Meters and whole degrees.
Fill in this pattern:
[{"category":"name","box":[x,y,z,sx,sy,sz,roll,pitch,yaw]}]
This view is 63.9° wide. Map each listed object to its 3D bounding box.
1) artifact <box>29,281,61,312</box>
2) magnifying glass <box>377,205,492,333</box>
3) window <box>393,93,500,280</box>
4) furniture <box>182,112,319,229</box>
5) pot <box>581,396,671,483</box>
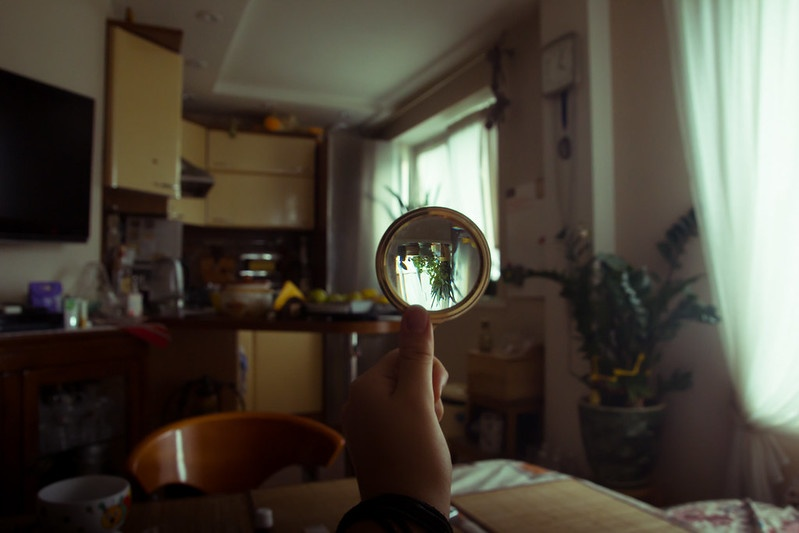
[{"category":"artifact","box":[-1.014,0.088,1.849,0.092,0.059,0.091,-1,0,3]},{"category":"magnifying glass","box":[0.056,-0.003,1.028,0.186,0.170,0.064,-1,0,-11]},{"category":"window","box":[0.089,-0.133,1.117,0.248,0.405,0.057,-20,-31,38]},{"category":"furniture","box":[-0.314,-0.175,1.362,0.284,0.202,0.164,2,6,2]},{"category":"pot","box":[0.421,0.339,1.231,0.169,0.160,0.157,3,-7,0]}]
